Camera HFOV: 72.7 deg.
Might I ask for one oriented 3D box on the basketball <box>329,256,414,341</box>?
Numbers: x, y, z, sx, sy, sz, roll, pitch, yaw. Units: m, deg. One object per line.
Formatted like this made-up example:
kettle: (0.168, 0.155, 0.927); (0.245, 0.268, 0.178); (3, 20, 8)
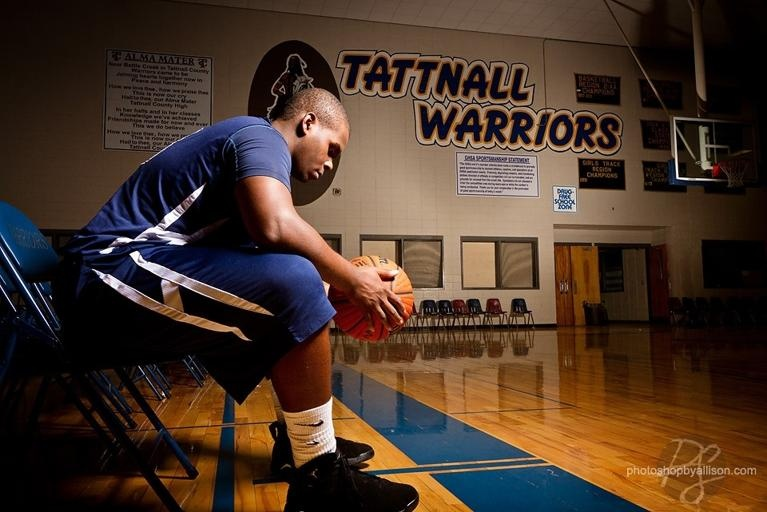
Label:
basketball: (-0.067, 0.143, 2.324); (0.368, 0.413, 0.366); (1, 1, -14)
